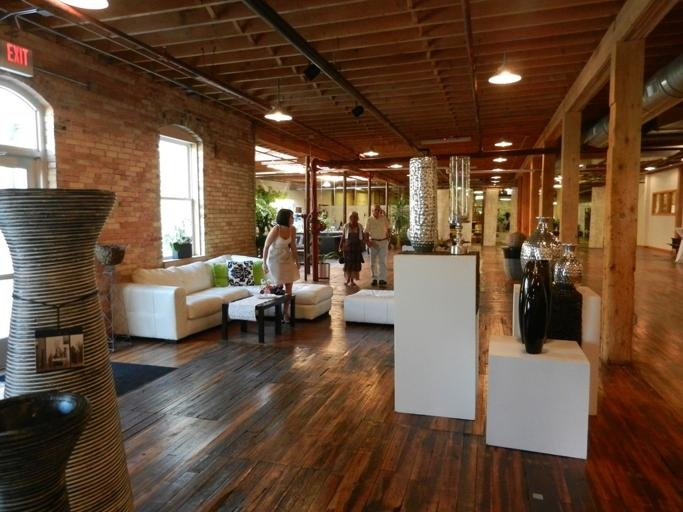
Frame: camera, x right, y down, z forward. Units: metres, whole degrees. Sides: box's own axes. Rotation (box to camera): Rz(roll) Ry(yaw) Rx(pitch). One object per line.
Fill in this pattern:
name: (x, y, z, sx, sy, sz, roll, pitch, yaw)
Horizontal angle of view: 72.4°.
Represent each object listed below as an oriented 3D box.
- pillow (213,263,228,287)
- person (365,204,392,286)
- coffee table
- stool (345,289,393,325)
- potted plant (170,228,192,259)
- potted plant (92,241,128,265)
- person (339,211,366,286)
pillow: (-1.933, 0.319, 7.410, 0.173, 0.308, 0.333, -11, -2, 11)
person: (0.772, -0.243, 9.985, 0.506, 1.665, 1.232, 0, 8, 6)
coffee table: (-1.122, 0.780, 6.182, 0.676, 0.475, 0.924, 2, 8, 19)
stool: (0.419, 0.724, 6.657, 0.442, 0.243, 0.613, 2, 0, 14)
potted plant: (-2.603, -0.208, 7.601, 0.258, 0.472, 0.436, -2, 8, -8)
potted plant: (-2.591, -0.037, 5.209, 0.281, 0.200, 0.292, -2, -6, 22)
person: (0.233, -0.168, 10.139, 0.524, 1.571, 1.233, -1, 8, 0)
